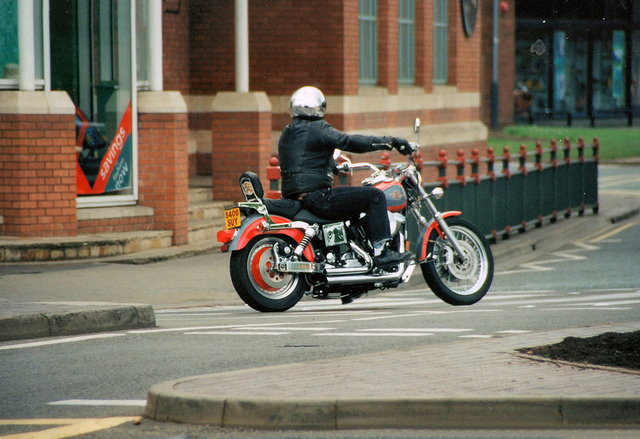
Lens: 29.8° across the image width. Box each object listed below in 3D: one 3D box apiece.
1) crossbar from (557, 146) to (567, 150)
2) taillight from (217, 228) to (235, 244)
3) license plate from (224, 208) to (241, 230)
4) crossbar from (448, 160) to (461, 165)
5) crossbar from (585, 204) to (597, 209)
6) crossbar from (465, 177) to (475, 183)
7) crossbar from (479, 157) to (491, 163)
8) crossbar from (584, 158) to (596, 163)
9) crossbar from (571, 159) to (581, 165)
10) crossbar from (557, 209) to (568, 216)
[{"bbox_3d":[5.017,-1.483,24.764,0.184,0.082,0.385,2,10,13],"label":"crossbar"},{"bbox_3d":[-1.164,0.221,14.984,0.213,0.196,0.192,-2,10,-5],"label":"taillight"},{"bbox_3d":[-1.086,-0.015,15.088,0.234,0.274,0.018,-7,-11,7],"label":"license plate"},{"bbox_3d":[2.336,-0.986,20.717,0.195,0.098,0.449,1,10,11],"label":"crossbar"},{"bbox_3d":[5.761,-0.282,25.427,0.367,0.054,0.029,-8,11,-41],"label":"crossbar"},{"bbox_3d":[2.653,-0.700,21.087,0.084,0.096,0.166,-2,-2,41],"label":"crossbar"},{"bbox_3d":[2.982,-1.068,21.599,0.200,0.130,0.570,1,10,7],"label":"crossbar"},{"bbox_3d":[5.752,-1.257,25.537,0.347,0.092,0.093,-9,13,-39],"label":"crossbar"},{"bbox_3d":[5.359,-1.208,25.183,0.120,0.092,0.349,7,13,37],"label":"crossbar"},{"bbox_3d":[4.985,-0.139,24.564,0.045,0.066,0.439,6,11,36],"label":"crossbar"}]
